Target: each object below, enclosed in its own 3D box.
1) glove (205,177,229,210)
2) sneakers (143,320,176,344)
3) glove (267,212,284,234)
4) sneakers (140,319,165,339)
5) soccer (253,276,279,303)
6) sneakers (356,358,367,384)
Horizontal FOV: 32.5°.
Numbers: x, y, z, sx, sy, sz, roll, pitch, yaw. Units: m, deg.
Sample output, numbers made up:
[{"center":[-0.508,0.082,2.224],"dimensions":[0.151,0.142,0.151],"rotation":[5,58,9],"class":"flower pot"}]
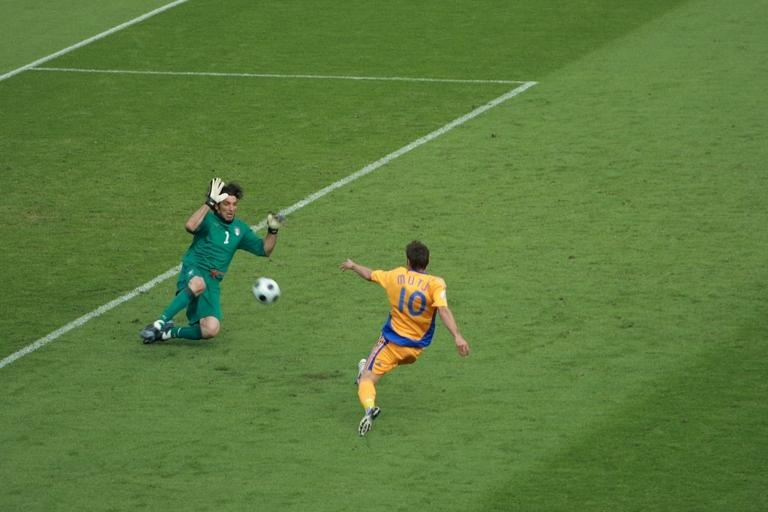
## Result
[{"center":[-2.061,-0.828,16.258],"dimensions":[0.287,0.345,0.240],"rotation":[-15,26,-17],"class":"glove"},{"center":[-2.804,0.929,16.369],"dimensions":[0.236,0.179,0.506],"rotation":[-19,3,-36],"class":"sneakers"},{"center":[-1.352,-0.449,16.576],"dimensions":[0.215,0.238,0.254],"rotation":[7,11,-11],"class":"glove"},{"center":[-2.846,0.904,16.396],"dimensions":[0.179,0.148,0.395],"rotation":[-3,28,48],"class":"sneakers"},{"center":[-1.451,0.380,16.452],"dimensions":[0.322,0.299,0.307],"rotation":[-13,14,-3],"class":"soccer"},{"center":[-0.215,1.361,15.705],"dimensions":[0.110,0.302,0.142],"rotation":[13,-11,-3],"class":"sneakers"}]
